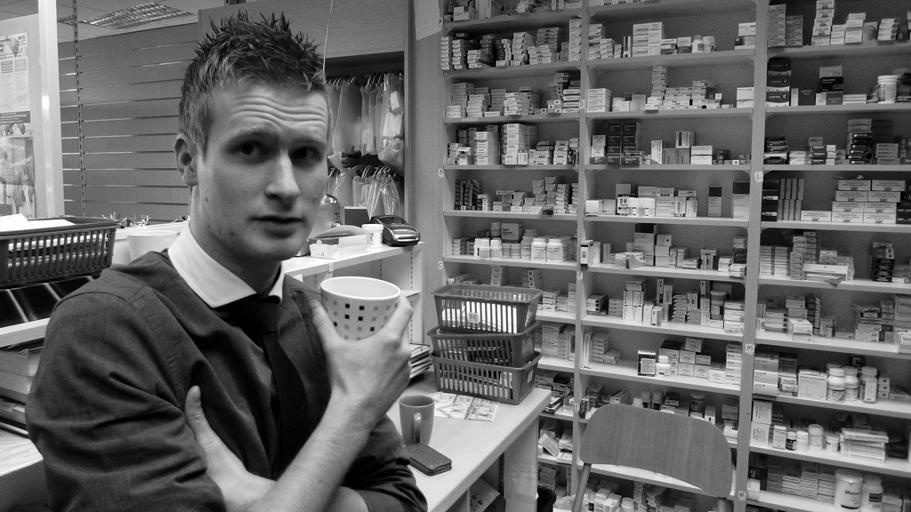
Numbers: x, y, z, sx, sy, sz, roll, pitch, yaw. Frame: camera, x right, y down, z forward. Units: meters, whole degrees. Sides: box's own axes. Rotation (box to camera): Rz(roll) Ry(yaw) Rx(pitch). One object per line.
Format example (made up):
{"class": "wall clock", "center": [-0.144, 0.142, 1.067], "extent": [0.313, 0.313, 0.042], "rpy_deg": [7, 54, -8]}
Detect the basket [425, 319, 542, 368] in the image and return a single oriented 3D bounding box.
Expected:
{"class": "basket", "center": [0.238, 0.540, 3.519], "extent": [0.394, 0.178, 0.571], "rpy_deg": [3, -10, -42]}

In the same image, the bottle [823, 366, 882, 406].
{"class": "bottle", "center": [2.792, 0.915, 4.340], "extent": [0.380, 0.245, 0.217], "rpy_deg": [1, 1, 9]}

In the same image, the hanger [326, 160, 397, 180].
{"class": "hanger", "center": [-0.807, -0.763, 5.449], "extent": [0.375, 0.111, 0.271], "rpy_deg": [-3, 8, -39]}

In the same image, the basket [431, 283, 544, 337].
{"class": "basket", "center": [0.170, 0.303, 3.497], "extent": [0.492, 0.153, 0.308], "rpy_deg": [3, 7, 16]}

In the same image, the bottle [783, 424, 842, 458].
{"class": "bottle", "center": [2.547, 1.326, 4.397], "extent": [0.247, 0.088, 0.265], "rpy_deg": [0, -2, 0]}

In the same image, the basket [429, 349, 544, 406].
{"class": "basket", "center": [0.191, 0.687, 3.541], "extent": [0.597, 0.184, 0.389], "rpy_deg": [-4, 1, 26]}
